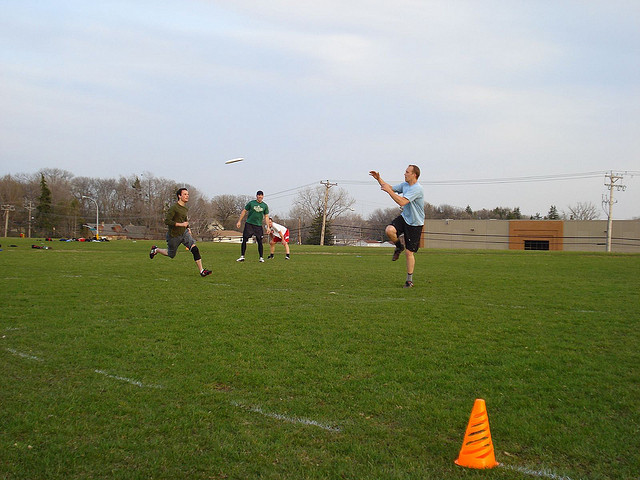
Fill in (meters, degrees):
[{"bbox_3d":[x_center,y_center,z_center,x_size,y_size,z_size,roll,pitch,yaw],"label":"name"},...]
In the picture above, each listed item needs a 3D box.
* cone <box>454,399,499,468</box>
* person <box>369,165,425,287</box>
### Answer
[{"bbox_3d":[1.246,1.534,4.285,0.283,0.519,0.326,1,0,-1],"label":"cone"},{"bbox_3d":[1.647,-0.228,10.184,0.962,2.430,0.868,-13,20,-42],"label":"person"}]
